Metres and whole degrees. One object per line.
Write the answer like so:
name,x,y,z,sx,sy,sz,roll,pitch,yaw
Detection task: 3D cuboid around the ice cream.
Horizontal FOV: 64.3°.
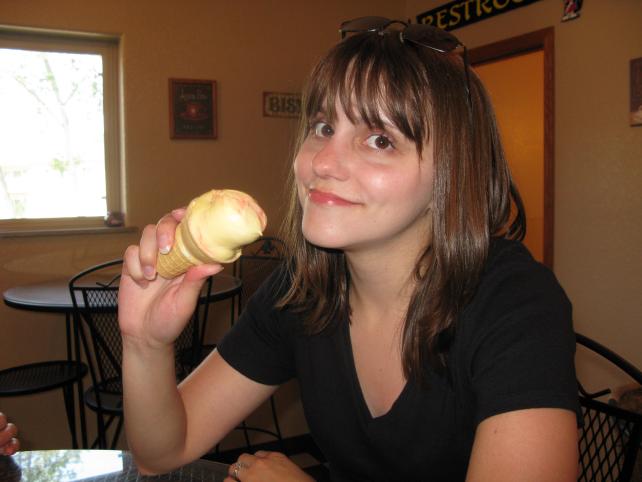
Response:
ice cream,-0.270,-0.002,1.195,0.137,0.236,0.348,-8,11,-38

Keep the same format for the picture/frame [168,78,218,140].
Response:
picture/frame,-0.938,-0.958,3.675,0.447,0.534,0.040,-2,4,-28
